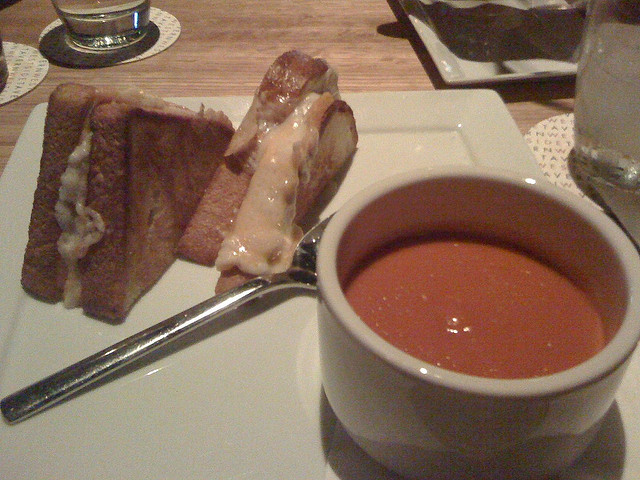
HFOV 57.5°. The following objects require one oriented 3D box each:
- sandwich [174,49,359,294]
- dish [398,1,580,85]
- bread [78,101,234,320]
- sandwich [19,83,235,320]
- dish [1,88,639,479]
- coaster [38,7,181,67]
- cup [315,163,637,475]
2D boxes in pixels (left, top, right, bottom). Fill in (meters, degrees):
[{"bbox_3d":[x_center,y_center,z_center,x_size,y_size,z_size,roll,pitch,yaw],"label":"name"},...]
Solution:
[{"bbox_3d":[-0.102,-0.160,1.124,0.282,0.166,0.541,17,58,11],"label":"sandwich"},{"bbox_3d":[0.449,-0.535,1.502,0.390,0.090,0.374,-11,59,-5],"label":"dish"},{"bbox_3d":[-0.380,-0.111,1.102,0.305,0.302,0.394,27,30,33],"label":"bread"},{"bbox_3d":[-0.311,-0.119,1.157,0.267,0.357,0.491,14,21,22],"label":"sandwich"},{"bbox_3d":[-0.079,0.071,1.198,1.012,0.676,0.861,-1,19,-7],"label":"dish"},{"bbox_3d":[-0.567,-0.523,1.579,0.249,0.012,0.242,-8,41,-14],"label":"coaster"},{"bbox_3d":[0.178,0.095,0.715,0.358,0.185,0.358,-1,59,1],"label":"cup"}]
